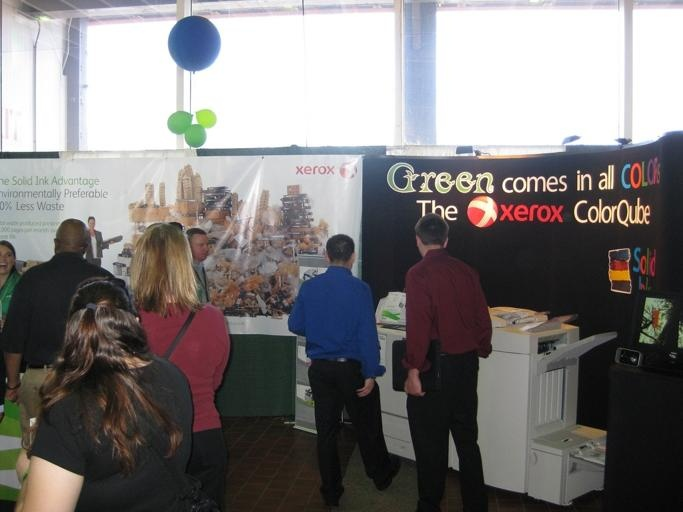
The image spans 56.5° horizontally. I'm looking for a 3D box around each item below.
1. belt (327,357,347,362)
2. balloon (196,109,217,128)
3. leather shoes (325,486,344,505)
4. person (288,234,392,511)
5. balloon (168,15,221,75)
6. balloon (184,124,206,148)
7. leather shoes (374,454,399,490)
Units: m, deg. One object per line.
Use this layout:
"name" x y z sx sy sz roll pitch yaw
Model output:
"belt" -0.017 0.685 4.190 0.111 0.030 0.015 0 10 11
"balloon" -1.263 -1.281 5.932 0.179 0.167 0.135 -5 10 -16
"leather shoes" -0.052 1.667 4.403 0.105 0.100 0.119 1 -23 1
"person" 0.021 0.805 4.339 0.715 1.870 0.359 -3 9 -6
"balloon" -1.249 -1.802 5.414 0.416 0.465 0.257 -3 19 -7
"balloon" -1.348 -1.100 5.873 0.179 0.225 0.163 -3 10 -4
"leather shoes" 0.344 1.552 4.597 0.074 0.248 0.178 13 -23 7
